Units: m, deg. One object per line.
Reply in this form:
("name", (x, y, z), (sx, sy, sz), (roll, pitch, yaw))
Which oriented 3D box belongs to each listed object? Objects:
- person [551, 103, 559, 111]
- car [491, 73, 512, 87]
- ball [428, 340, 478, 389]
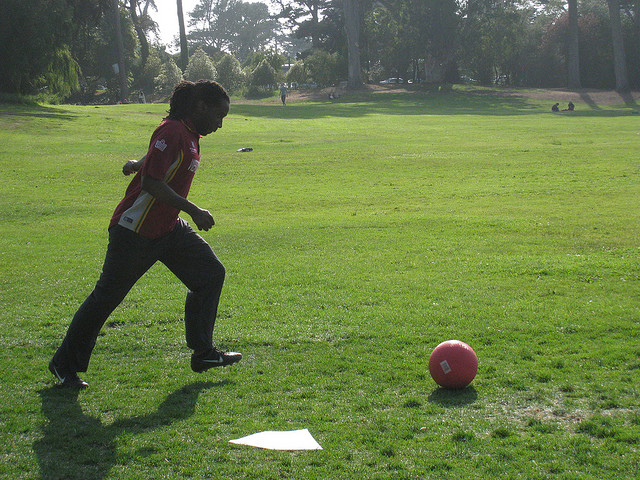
("person", (16.700, -9.384, 52.172), (0.382, 0.428, 0.989), (4, 15, 22))
("car", (21.180, -18.789, 85.563), (1.894, 1.377, 6.221), (1, 15, 11))
("ball", (1.586, 1.469, 8.717), (0.515, 0.547, 0.532), (26, -21, 11))
